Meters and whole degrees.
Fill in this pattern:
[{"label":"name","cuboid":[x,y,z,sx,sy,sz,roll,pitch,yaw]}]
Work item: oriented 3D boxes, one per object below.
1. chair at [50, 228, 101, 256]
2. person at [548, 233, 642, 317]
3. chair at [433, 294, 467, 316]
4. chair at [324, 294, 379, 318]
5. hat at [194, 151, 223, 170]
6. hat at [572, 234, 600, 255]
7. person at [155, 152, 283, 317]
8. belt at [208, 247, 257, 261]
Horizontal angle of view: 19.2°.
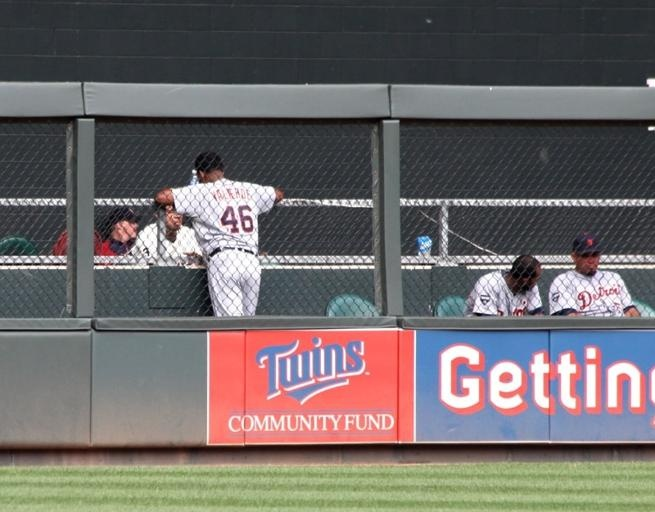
[{"label":"chair","cuboid":[-2.143,-0.137,16.168,0.342,0.152,0.249,-17,27,-36]},{"label":"person","cuboid":[2.209,0.214,15.986,0.961,0.838,0.487,-5,4,-35]},{"label":"chair","cuboid":[1.008,0.392,15.913,0.164,0.190,0.212,7,4,7]},{"label":"chair","cuboid":[0.195,0.396,15.580,0.415,0.227,0.701,-5,-6,-1]},{"label":"hat","cuboid":[-0.939,-0.773,15.484,0.146,0.177,0.182,0,6,-13]},{"label":"hat","cuboid":[2.140,-0.104,16.035,0.224,0.181,0.259,-5,-6,6]},{"label":"person","cuboid":[-0.897,-0.158,15.604,1.139,1.787,0.655,-7,7,-24]},{"label":"belt","cuboid":[-0.752,-0.037,15.467,0.393,0.079,0.052,-3,-7,-16]}]
